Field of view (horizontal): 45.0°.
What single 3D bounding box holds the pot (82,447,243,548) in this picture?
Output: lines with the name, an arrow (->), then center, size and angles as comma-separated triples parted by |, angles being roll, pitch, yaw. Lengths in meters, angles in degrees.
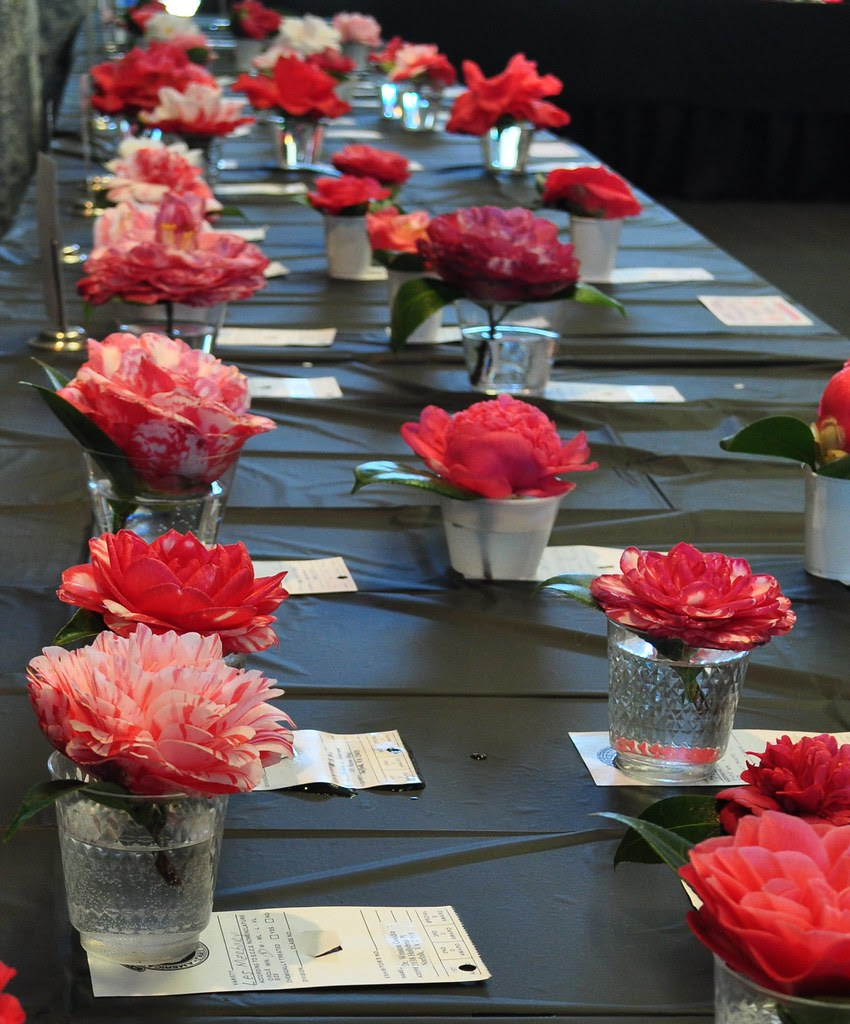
pot -> -0.187, -0.008, 0.756 | 0.099, 0.075, 0.086 | 4, 20, -8

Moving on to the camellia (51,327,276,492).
camellia -> -0.180, -0.070, 0.745 | 0.126, 0.109, 0.113 | 19, 28, 40

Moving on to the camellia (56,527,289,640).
camellia -> -0.133, 0.039, 0.567 | 0.130, 0.042, 0.112 | 5, 13, 1

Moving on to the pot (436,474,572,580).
pot -> 0.085, 0.016, 0.994 | 0.121, 0.062, 0.096 | 2, 20, -2

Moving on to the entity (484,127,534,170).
entity -> 0.225, -1.102, 3.117 | 0.159, 0.102, 0.147 | -26, 39, -38

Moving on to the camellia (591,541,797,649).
camellia -> 0.169, 0.048, 0.652 | 0.119, 0.035, 0.125 | 15, 18, 40

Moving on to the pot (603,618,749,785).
pot -> 0.188, 0.131, 0.713 | 0.126, 0.098, 0.112 | 3, -5, 17

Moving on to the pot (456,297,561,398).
pot -> 0.122, -0.223, 1.531 | 0.164, 0.089, 0.146 | 5, 12, 10

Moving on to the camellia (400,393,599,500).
camellia -> 0.069, -0.050, 0.958 | 0.159, 0.068, 0.170 | 19, 22, 40

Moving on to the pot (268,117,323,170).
pot -> -0.373, -1.080, 3.018 | 0.194, 0.171, 0.152 | -9, 38, -14

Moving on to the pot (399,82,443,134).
pot -> -0.008, -1.528, 3.841 | 0.149, 0.184, 0.184 | 1, 44, 1

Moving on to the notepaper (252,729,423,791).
notepaper -> -0.057, 0.180, 0.709 | 0.109, 0.008, 0.066 | 6, 13, -7

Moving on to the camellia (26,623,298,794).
camellia -> -0.112, 0.076, 0.429 | 0.101, 0.037, 0.088 | 3, -7, 10
